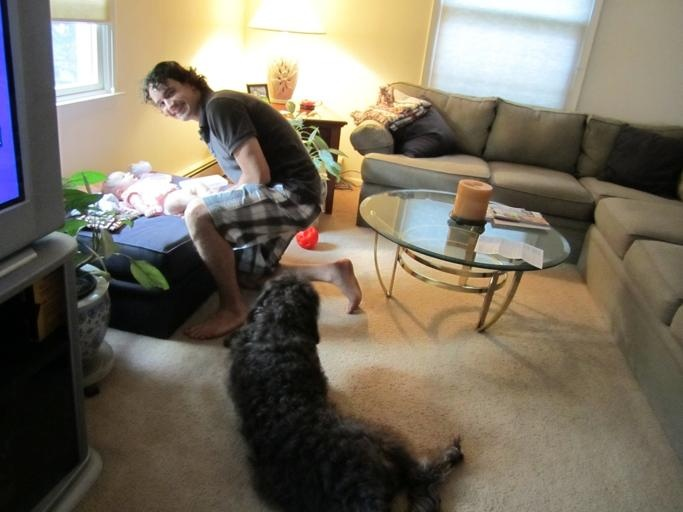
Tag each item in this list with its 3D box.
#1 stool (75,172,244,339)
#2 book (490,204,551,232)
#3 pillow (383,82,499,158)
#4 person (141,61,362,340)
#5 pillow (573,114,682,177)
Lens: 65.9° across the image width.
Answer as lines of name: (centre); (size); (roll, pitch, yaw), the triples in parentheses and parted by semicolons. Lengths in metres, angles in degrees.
stool: (-0.732, 0.041, 2.199); (0.526, 0.375, 0.550); (17, 36, 13)
book: (0.861, -0.180, 2.540); (0.188, 0.047, 0.191); (10, 25, 5)
pillow: (0.772, -0.944, 3.771); (0.538, 0.171, 0.547); (12, 43, 3)
person: (-0.444, -0.300, 2.507); (0.873, 1.227, 0.621); (-5, 1, -25)
pillow: (1.841, -0.700, 3.418); (0.488, 0.487, 0.173); (5, -4, 19)
